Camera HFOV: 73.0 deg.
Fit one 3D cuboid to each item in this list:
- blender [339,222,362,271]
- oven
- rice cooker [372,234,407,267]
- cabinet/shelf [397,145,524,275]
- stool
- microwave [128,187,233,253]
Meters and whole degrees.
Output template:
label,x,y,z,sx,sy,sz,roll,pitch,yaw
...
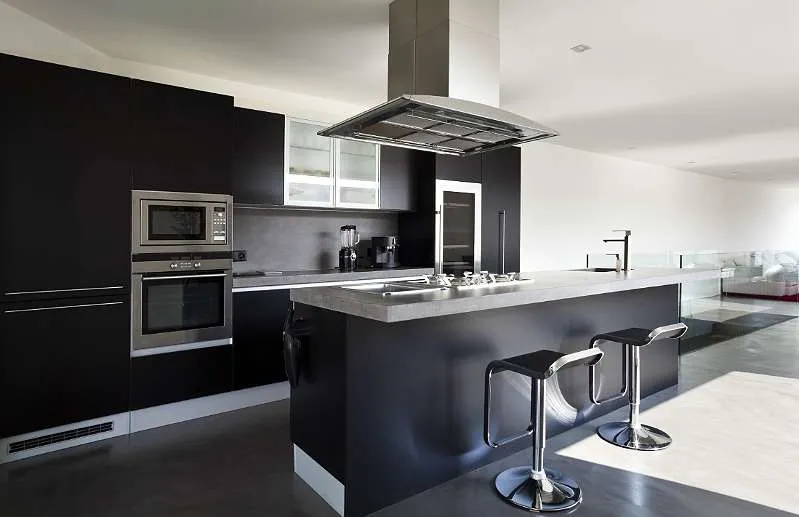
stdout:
label,x,y,z,sx,sy,sz,roll,pitch,yaw
blender,-0.576,-0.149,6.220,0.229,0.521,0.579,1,3,-4
oven,-2.267,0.388,5.134,0.698,0.911,1.057,0,1,31
rice cooker,-0.142,-0.087,6.401,0.276,0.345,0.393,-1,1,31
cabinet/shelf,0.658,-0.589,6.468,1.908,1.684,0.534,1,-2,-33
stool,1.487,1.315,4.404,1.519,0.786,0.489,-1,1,-39
microwave,-2.007,-0.353,4.911,1.024,0.578,0.550,-1,1,-41
